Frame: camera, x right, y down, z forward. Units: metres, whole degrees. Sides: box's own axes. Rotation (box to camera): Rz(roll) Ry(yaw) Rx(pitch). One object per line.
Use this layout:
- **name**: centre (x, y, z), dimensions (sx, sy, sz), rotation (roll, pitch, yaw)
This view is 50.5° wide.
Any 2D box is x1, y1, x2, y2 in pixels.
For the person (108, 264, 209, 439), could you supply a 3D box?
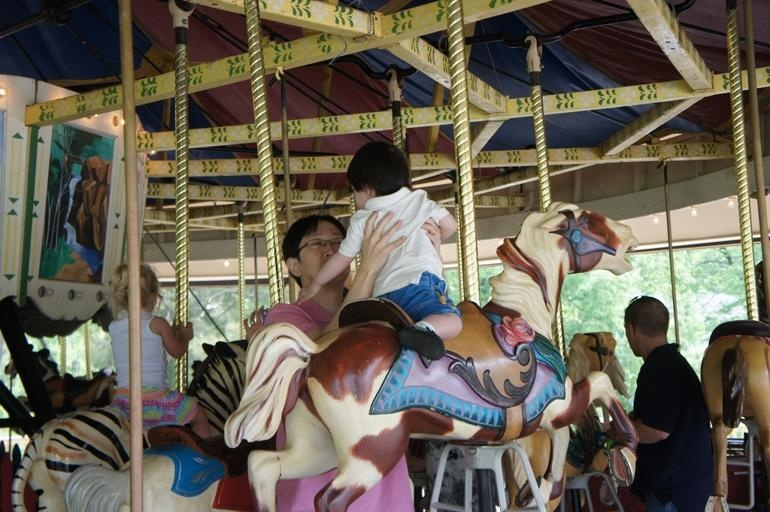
- **person**: centre (-1.732, 0.695, 6.250), dimensions (0.729, 1.376, 1.258), rotation (1, -9, -19)

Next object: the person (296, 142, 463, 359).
- **person**: centre (0.072, -0.037, 5.458), dimensions (0.884, 1.490, 0.583), rotation (-6, -33, -6)

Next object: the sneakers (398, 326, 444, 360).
- **sneakers**: centre (0.230, 0.531, 5.073), dimensions (0.268, 0.174, 0.095), rotation (25, 9, 0)
